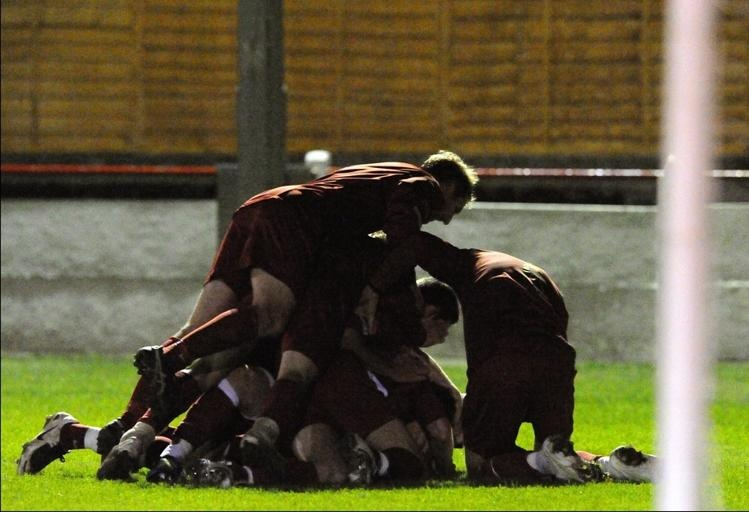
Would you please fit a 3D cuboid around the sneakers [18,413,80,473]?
[{"bbox_3d":[-2.093,1.221,10.130,0.159,0.343,0.123,37,-6,31],"label":"sneakers"}]

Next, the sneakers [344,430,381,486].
[{"bbox_3d":[-0.065,1.282,9.742,0.183,0.384,0.141,10,-5,-17],"label":"sneakers"}]

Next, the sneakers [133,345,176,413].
[{"bbox_3d":[-1.374,0.746,9.852,0.169,0.489,0.217,-2,9,43],"label":"sneakers"}]
